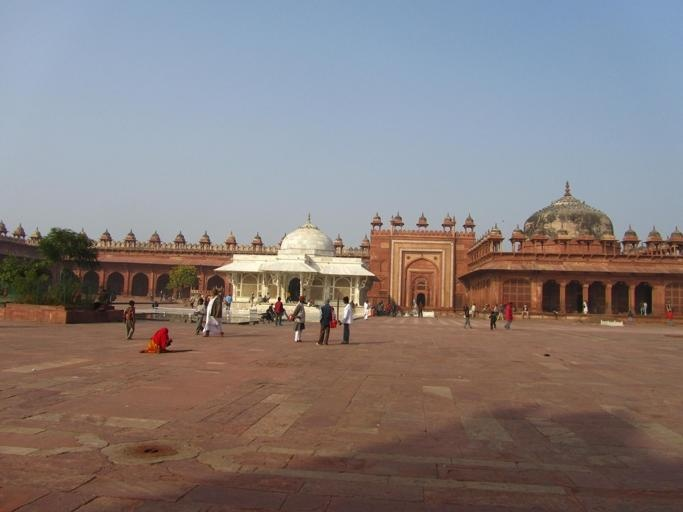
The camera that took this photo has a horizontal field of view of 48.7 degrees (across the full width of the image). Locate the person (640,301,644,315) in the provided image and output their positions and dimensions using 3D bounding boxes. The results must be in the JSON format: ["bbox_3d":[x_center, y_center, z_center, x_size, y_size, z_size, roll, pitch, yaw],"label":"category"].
[{"bbox_3d":[14.762,2.545,36.866,0.185,0.583,0.912,1,2,23],"label":"person"}]
